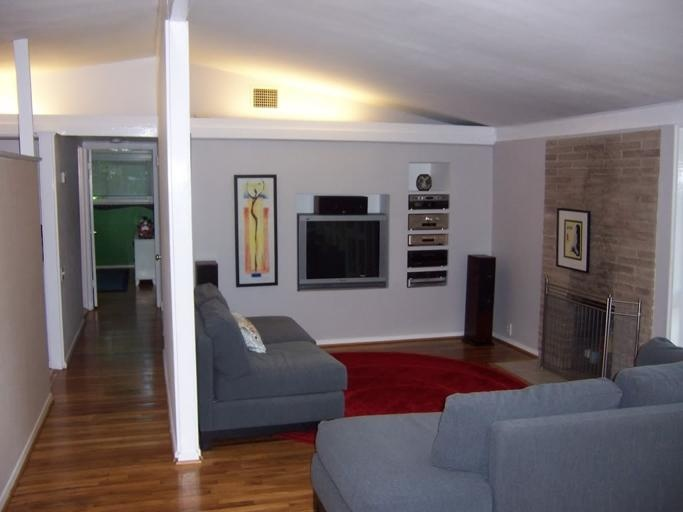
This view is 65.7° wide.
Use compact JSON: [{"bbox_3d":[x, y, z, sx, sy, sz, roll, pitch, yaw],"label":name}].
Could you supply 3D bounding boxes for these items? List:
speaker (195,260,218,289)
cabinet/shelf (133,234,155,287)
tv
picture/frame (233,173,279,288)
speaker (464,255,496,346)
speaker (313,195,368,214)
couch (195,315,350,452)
[{"bbox_3d":[-1.555,0.220,6.078,0.232,0.356,0.173,1,22,-13],"label":"speaker"},{"bbox_3d":[-3.829,0.091,10.275,0.356,0.905,0.297,-4,10,-23],"label":"cabinet/shelf"},{"bbox_3d":[0.002,0.009,7.305,1.178,1.037,0.466,-1,-7,-1],"label":"tv"},{"bbox_3d":[-1.087,-0.324,6.724,0.518,1.375,0.171,-3,10,-19],"label":"picture/frame"},{"bbox_3d":[1.870,0.580,7.203,0.364,1.196,0.413,-1,8,-6],"label":"speaker"},{"bbox_3d":[-0.011,-0.679,7.013,0.687,0.257,0.074,-1,10,-8],"label":"speaker"},{"bbox_3d":[-0.839,1.004,5.447,1.329,1.003,2.040,0,6,-14],"label":"couch"}]
